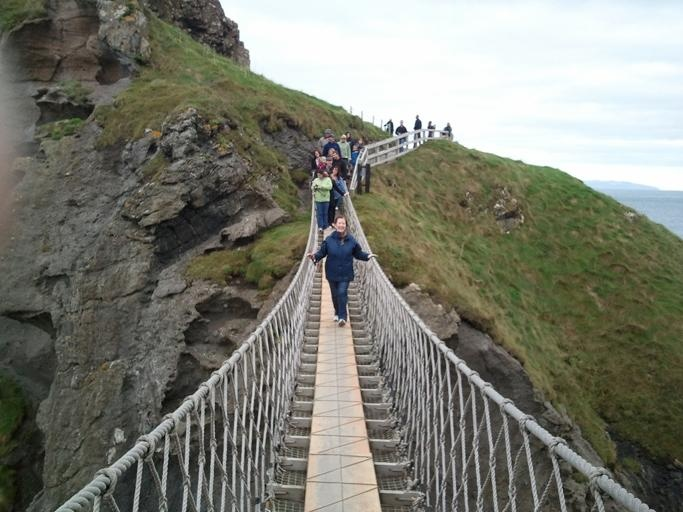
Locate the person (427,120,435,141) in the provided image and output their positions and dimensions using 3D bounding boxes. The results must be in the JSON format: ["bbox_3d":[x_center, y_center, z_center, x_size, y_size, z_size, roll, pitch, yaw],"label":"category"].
[{"bbox_3d":[5.118,-7.063,29.770,0.412,0.909,0.972,13,12,6],"label":"person"}]

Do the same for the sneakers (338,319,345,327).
[{"bbox_3d":[0.006,1.720,13.373,0.091,0.108,0.264,1,-31,-4],"label":"sneakers"}]

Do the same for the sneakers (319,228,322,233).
[{"bbox_3d":[-0.706,-0.848,17.373,0.124,0.109,0.206,-1,5,-2],"label":"sneakers"}]

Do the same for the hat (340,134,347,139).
[{"bbox_3d":[0.087,-4.900,21.492,0.225,0.137,0.323,0,3,2],"label":"hat"}]

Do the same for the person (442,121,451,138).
[{"bbox_3d":[6.186,-7.248,30.438,0.328,0.770,0.865,19,13,32],"label":"person"}]

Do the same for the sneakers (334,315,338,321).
[{"bbox_3d":[-0.146,1.623,13.583,0.155,0.173,0.380,0,-2,2],"label":"sneakers"}]
